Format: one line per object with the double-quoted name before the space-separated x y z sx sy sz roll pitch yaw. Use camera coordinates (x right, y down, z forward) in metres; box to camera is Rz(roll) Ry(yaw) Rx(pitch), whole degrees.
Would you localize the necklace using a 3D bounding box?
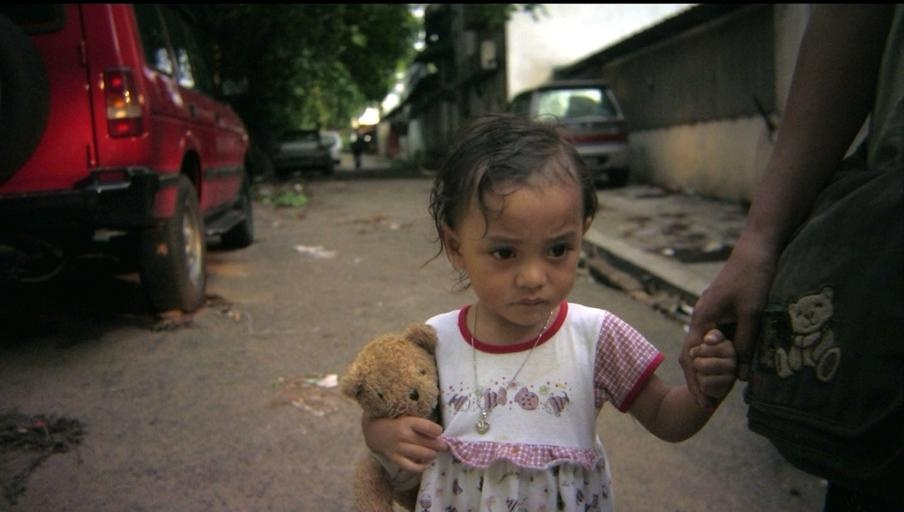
"necklace" 0.165 0.332 2.352 0.191 0.556 0.066 11 -10 5
